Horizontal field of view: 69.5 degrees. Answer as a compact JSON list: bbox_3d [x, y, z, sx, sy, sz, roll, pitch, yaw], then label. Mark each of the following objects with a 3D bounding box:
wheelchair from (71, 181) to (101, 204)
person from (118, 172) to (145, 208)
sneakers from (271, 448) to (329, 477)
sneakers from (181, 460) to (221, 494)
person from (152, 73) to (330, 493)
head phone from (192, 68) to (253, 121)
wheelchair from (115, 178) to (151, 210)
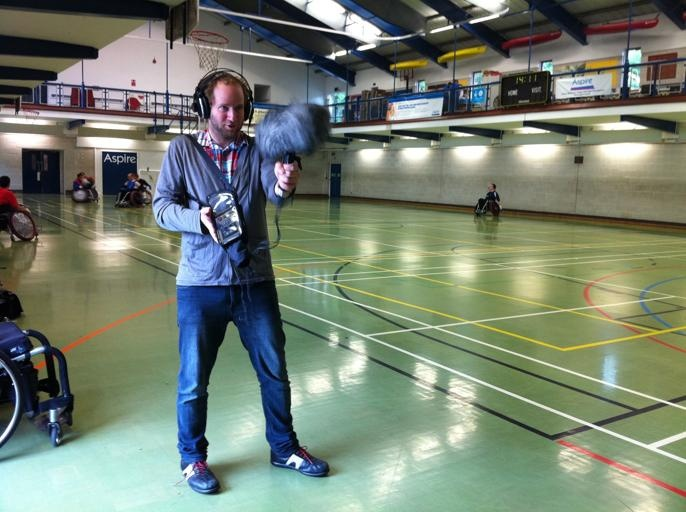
[{"bbox_3d":[-11.648,-2.872,21.919,1.225,0.950,0.891,0,4,34],"label":"wheelchair"},{"bbox_3d":[-8.553,-2.644,19.764,1.066,1.287,0.679,-3,13,-21],"label":"person"},{"bbox_3d":[-0.229,1.171,2.862,0.369,0.117,0.131,3,0,17],"label":"sneakers"},{"bbox_3d":[-0.772,1.183,2.644,0.118,0.086,0.234,1,0,-41],"label":"sneakers"},{"bbox_3d":[-0.588,0.128,2.666,0.875,2.226,0.580,1,13,-6],"label":"person"},{"bbox_3d":[-0.646,-0.864,2.661,0.345,0.244,0.113,-3,22,-23],"label":"head phone"},{"bbox_3d":[-8.734,-2.556,20.206,1.985,1.330,1.198,0,2,-30],"label":"wheelchair"}]
